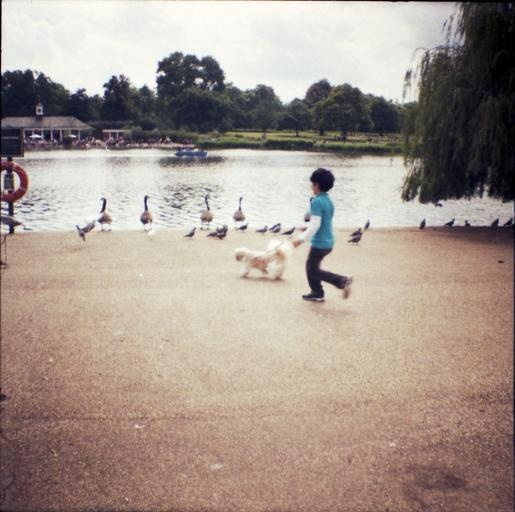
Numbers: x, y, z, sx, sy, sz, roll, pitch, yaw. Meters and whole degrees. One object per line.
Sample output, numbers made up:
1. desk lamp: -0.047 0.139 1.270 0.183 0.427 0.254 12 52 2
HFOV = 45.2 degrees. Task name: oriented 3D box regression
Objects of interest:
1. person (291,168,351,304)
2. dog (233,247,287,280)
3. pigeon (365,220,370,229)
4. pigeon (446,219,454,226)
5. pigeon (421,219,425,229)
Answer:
1. person: 0.860 -0.263 9.065 0.882 2.025 0.953 -2 8 -18
2. dog: 0.092 0.132 11.192 1.102 0.891 0.426 8 16 30
3. pigeon: 3.572 -1.024 20.026 0.092 0.199 0.430 15 47 -2
4. pigeon: 6.475 -1.147 20.783 0.266 0.204 0.601 2 9 17
5. pigeon: 5.269 -1.014 19.571 0.108 0.263 0.550 3 9 24
